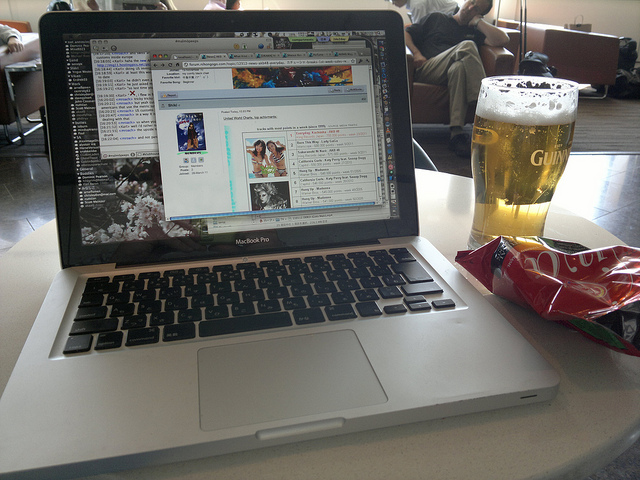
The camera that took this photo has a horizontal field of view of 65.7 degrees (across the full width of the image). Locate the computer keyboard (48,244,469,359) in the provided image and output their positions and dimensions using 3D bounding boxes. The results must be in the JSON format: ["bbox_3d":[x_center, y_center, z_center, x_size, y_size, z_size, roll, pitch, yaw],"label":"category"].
[{"bbox_3d":[-0.063,0.069,0.615,0.491,0.029,0.198,-5,28,-18],"label":"computer keyboard"}]
